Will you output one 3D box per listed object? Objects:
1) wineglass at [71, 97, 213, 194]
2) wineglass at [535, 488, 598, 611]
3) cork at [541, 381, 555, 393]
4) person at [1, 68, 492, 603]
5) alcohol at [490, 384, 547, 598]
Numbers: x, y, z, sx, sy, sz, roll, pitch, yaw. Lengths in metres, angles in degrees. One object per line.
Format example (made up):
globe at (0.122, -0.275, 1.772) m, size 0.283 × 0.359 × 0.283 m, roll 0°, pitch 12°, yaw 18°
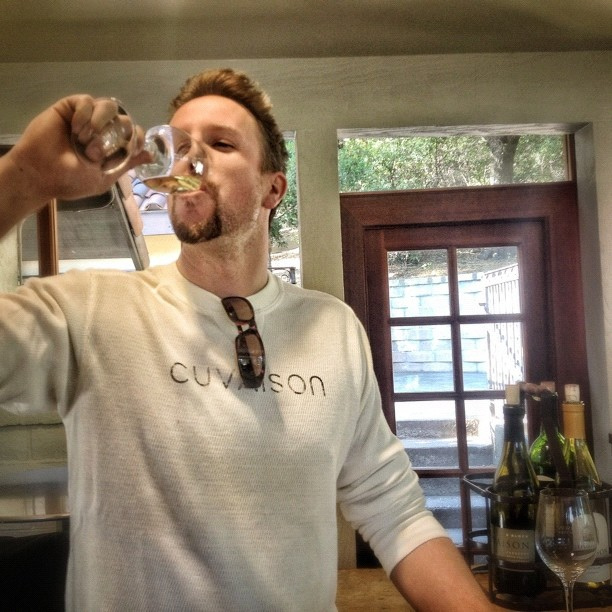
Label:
wineglass at (-0.263, -0.252, 1.088) m, size 0.208 × 0.155 × 0.142 m, roll -7°, pitch 13°, yaw -33°
wineglass at (0.465, 0.415, 1.250) m, size 0.095 × 0.231 × 0.094 m, roll 5°, pitch 5°, yaw 8°
cork at (0.573, 0.190, 1.607) m, size 0.040 × 0.036 × 0.021 m, roll 0°, pitch -4°, yaw 3°
person at (-0.153, 0.031, 1.341) m, size 0.805 × 1.009 × 0.400 m, roll -5°, pitch 1°, yaw -12°
alcohol at (0.474, 0.392, 1.523) m, size 0.148 × 0.516 × 0.096 m, roll 0°, pitch -2°, yaw 8°
